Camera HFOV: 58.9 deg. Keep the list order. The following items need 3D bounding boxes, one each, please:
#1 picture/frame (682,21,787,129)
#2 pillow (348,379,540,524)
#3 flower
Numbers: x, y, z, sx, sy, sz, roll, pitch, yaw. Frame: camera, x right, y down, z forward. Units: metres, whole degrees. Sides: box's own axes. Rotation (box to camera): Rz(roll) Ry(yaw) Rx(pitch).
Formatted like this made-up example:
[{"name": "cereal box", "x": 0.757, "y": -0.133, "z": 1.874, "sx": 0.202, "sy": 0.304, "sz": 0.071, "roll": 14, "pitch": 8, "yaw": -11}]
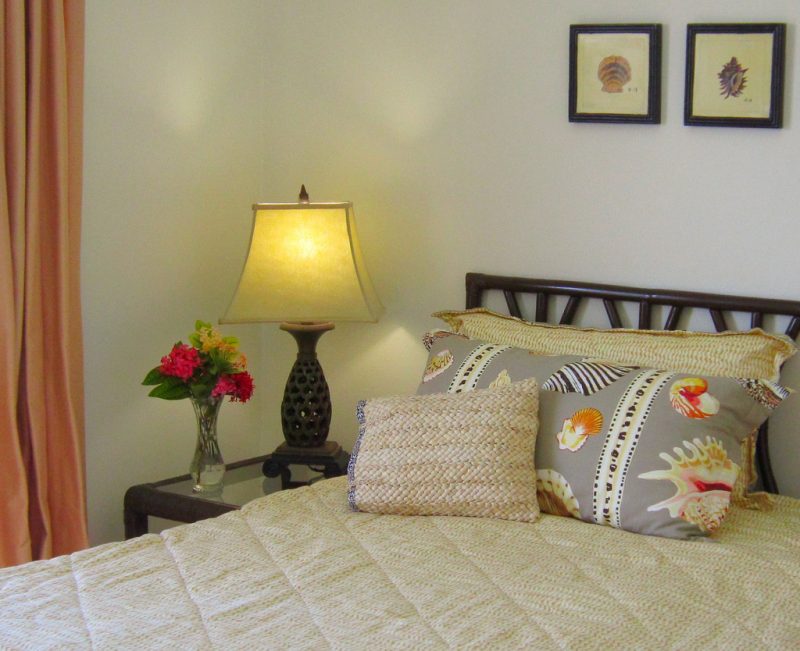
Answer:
[{"name": "picture/frame", "x": 1.008, "y": -0.750, "z": 2.110, "sx": 0.296, "sy": 0.346, "sz": 0.033, "roll": 3, "pitch": 8, "yaw": 26}, {"name": "pillow", "x": 0.095, "y": 0.314, "z": 1.786, "sx": 0.381, "sy": 0.383, "sz": 0.128, "roll": -2, "pitch": -28, "yaw": 12}, {"name": "flower", "x": -0.642, "y": 0.256, "z": 2.284, "sx": 0.327, "sy": 0.527, "sz": 0.331, "roll": -6, "pitch": 6, "yaw": -13}]
